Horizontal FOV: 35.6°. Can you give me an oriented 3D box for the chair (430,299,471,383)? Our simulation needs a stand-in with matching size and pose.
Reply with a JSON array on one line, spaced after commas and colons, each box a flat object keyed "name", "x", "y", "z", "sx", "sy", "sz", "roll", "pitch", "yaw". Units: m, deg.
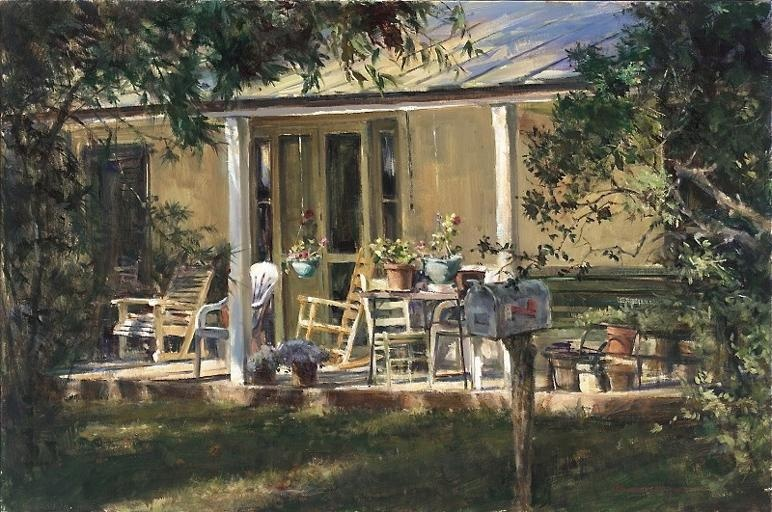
[{"name": "chair", "x": 0.786, "y": 1.085, "z": 15.130, "sx": 0.480, "sy": 1.057, "sz": 0.750, "roll": -2, "pitch": -1, "yaw": 4}]

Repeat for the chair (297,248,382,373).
[{"name": "chair", "x": -0.665, "y": 0.738, "z": 15.898, "sx": 0.863, "sy": 1.471, "sz": 0.754, "roll": -12, "pitch": -8, "yaw": 41}]

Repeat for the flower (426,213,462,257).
[{"name": "flower", "x": 0.780, "y": -0.258, "z": 15.379, "sx": 0.397, "sy": 0.564, "sz": 0.378, "roll": 2, "pitch": -13, "yaw": 28}]

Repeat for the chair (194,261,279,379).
[{"name": "chair", "x": -1.888, "y": 0.822, "z": 15.261, "sx": 0.983, "sy": 1.549, "sz": 0.830, "roll": -4, "pitch": 7, "yaw": -41}]

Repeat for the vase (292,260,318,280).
[{"name": "vase", "x": -1.049, "y": 0.153, "z": 15.542, "sx": 0.228, "sy": 0.185, "sz": 0.257, "roll": -2, "pitch": 0, "yaw": 4}]

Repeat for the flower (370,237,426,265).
[{"name": "flower", "x": 0.148, "y": -0.084, "z": 15.416, "sx": 0.699, "sy": 0.360, "sz": 0.974, "roll": -2, "pitch": -1, "yaw": 0}]

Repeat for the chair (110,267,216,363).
[{"name": "chair", "x": -2.922, "y": 0.731, "z": 15.997, "sx": 0.798, "sy": 1.282, "sz": 1.218, "roll": 4, "pitch": 1, "yaw": 30}]

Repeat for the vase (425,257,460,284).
[{"name": "vase", "x": 0.683, "y": 0.188, "z": 14.823, "sx": 0.315, "sy": 0.264, "sz": 0.342, "roll": -2, "pitch": -1, "yaw": 26}]

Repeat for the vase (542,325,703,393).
[{"name": "vase", "x": 2.807, "y": 1.231, "z": 14.793, "sx": 1.894, "sy": 0.830, "sz": 0.766, "roll": -2, "pitch": -1, "yaw": 5}]

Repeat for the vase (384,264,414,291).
[{"name": "vase", "x": 0.153, "y": 0.249, "z": 14.930, "sx": 0.289, "sy": 0.274, "sz": 0.314, "roll": -1, "pitch": -2, "yaw": 26}]

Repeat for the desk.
[{"name": "desk", "x": 0.382, "y": 1.050, "z": 15.351, "sx": 1.308, "sy": 1.458, "sz": 1.240, "roll": 1, "pitch": -6, "yaw": -7}]

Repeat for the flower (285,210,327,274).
[{"name": "flower", "x": -1.055, "y": -0.113, "z": 15.523, "sx": 0.302, "sy": 0.691, "sz": 0.444, "roll": -6, "pitch": 9, "yaw": -10}]

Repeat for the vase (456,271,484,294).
[{"name": "vase", "x": 1.031, "y": 0.294, "z": 14.675, "sx": 0.347, "sy": 0.260, "sz": 0.337, "roll": -2, "pitch": -1, "yaw": -2}]
